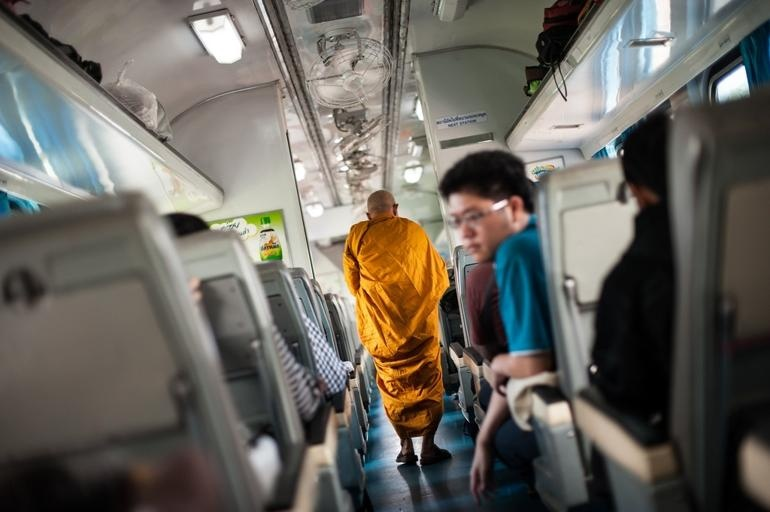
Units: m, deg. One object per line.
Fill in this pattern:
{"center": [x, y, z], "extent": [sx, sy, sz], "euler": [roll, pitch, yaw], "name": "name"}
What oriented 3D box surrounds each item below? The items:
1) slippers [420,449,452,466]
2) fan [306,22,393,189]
{"center": [0.370, 1.441, 3.430], "extent": [0.202, 0.077, 0.104], "euler": [-7, -1, -19], "name": "slippers"}
{"center": [-0.503, -1.967, 5.593], "extent": [0.865, 1.044, 0.375], "euler": [-7, 36, -12], "name": "fan"}
